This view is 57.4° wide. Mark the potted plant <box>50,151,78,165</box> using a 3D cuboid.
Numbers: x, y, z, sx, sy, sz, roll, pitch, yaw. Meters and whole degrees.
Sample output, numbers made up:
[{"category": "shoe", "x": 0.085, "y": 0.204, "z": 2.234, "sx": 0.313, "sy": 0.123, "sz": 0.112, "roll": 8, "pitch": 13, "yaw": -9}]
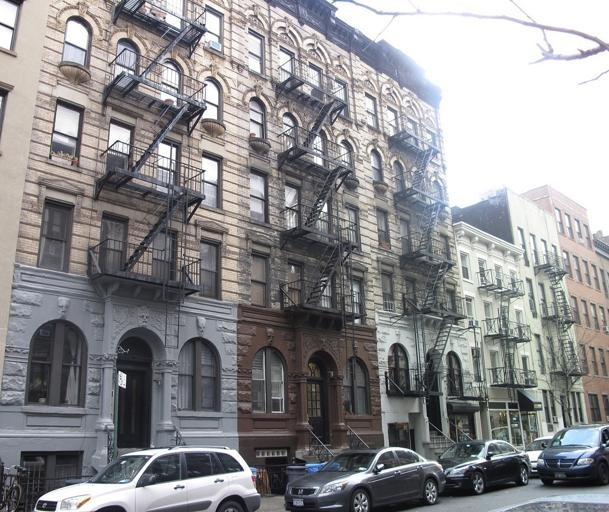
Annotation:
[{"category": "potted plant", "x": -8.205, "y": -3.302, "z": 18.856, "sx": 0.093, "sy": 0.272, "sz": 0.590, "roll": -12, "pitch": -17, "yaw": 42}]
